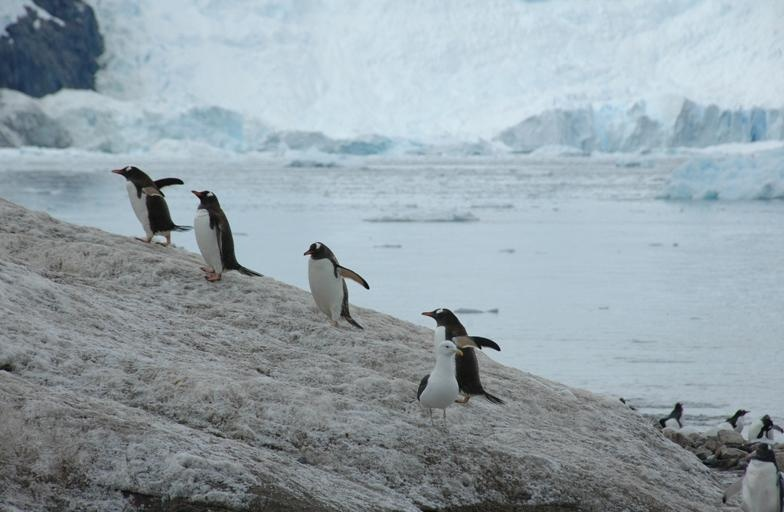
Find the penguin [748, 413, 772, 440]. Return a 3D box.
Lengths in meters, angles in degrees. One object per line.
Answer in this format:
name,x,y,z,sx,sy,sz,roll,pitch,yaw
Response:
penguin,6.969,3.340,28.228,0.322,0.403,0.717,12,14,40

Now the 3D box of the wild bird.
wild bird,0.789,2.183,25.491,0.728,1.482,0.677,3,12,1

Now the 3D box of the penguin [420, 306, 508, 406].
penguin,1.229,1.799,26.349,2.020,1.535,1.790,10,-5,10

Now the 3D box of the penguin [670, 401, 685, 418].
penguin,5.612,3.062,28.857,0.153,0.317,0.204,30,3,-16

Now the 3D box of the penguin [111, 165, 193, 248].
penguin,-4.425,-0.931,27.211,1.662,1.393,1.330,5,0,-12

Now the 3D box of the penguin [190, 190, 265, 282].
penguin,-3.132,-0.331,26.761,1.002,1.633,0.511,0,12,-12
